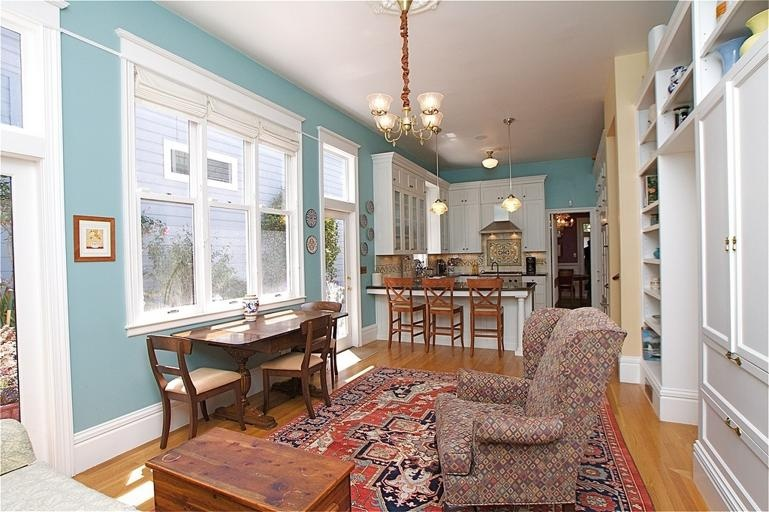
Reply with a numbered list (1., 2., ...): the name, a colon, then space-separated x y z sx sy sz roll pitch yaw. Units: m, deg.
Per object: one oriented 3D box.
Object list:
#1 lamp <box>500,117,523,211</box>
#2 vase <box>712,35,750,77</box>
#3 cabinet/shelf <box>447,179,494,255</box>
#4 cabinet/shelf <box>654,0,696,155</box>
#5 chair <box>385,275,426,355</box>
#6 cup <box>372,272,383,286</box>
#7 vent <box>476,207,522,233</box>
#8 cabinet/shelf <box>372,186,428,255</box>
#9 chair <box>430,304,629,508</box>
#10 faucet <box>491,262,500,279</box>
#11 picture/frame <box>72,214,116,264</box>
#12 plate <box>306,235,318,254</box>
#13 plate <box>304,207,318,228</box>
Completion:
1. lamp: 2.112 -1.527 8.191 0.412 1.601 0.388 -6 10 -5
2. vase: 2.557 -1.456 3.645 0.310 0.265 0.303 0 2 38
3. cabinet/shelf: 1.900 -0.791 10.774 1.009 1.505 0.945 -1 0 -1
4. cabinet/shelf: 2.568 -1.541 4.297 0.291 1.034 0.977 -2 0 30
5. chair: 0.325 0.828 7.328 0.584 0.853 0.849 -3 0 0
6. cup: -0.057 0.378 7.705 0.196 0.214 0.196 0 -2 0
7. vent: 2.368 -0.731 10.041 0.656 0.438 0.640 -1 -3 4
8. cabinet/shelf: 0.329 -0.605 8.823 0.367 1.215 2.056 -1 2 19
9. chair: 0.983 1.070 4.326 1.577 1.884 1.550 0 -3 7
10. faucet: 2.298 0.252 10.011 0.127 0.246 0.800 -3 -1 12
11. picture/frame: -2.518 -0.151 4.195 0.057 0.561 0.465 1 -1 38
12. plate: -0.951 -0.156 6.327 0.033 0.230 0.240 0 -8 23
13. plate: -0.946 -0.504 6.363 0.022 0.233 0.272 -3 0 23
